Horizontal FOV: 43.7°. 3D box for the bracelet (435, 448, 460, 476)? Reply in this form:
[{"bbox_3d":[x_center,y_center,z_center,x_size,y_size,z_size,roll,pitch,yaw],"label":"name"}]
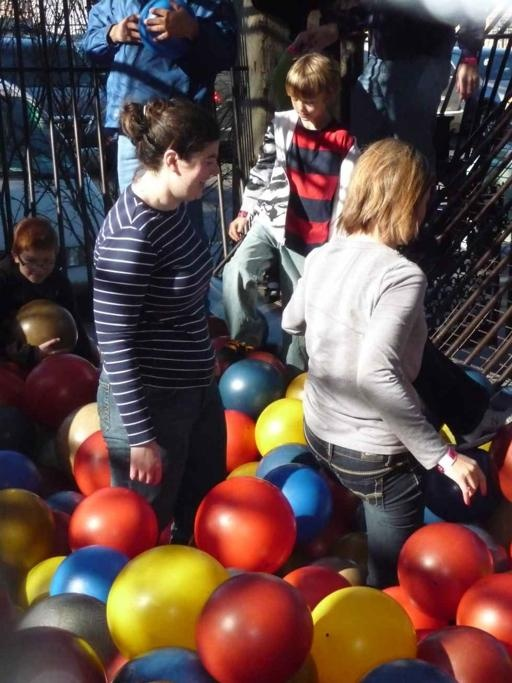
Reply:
[{"bbox_3d":[0.510,0.318,1.710,0.035,0.072,0.056,36,7,28],"label":"bracelet"}]

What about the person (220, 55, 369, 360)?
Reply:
[{"bbox_3d":[0.185,-0.582,3.682,0.724,1.939,0.601,17,33,15],"label":"person"}]

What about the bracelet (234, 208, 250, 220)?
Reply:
[{"bbox_3d":[-0.088,-0.772,3.845,0.061,0.056,0.062,-1,7,2],"label":"bracelet"}]
